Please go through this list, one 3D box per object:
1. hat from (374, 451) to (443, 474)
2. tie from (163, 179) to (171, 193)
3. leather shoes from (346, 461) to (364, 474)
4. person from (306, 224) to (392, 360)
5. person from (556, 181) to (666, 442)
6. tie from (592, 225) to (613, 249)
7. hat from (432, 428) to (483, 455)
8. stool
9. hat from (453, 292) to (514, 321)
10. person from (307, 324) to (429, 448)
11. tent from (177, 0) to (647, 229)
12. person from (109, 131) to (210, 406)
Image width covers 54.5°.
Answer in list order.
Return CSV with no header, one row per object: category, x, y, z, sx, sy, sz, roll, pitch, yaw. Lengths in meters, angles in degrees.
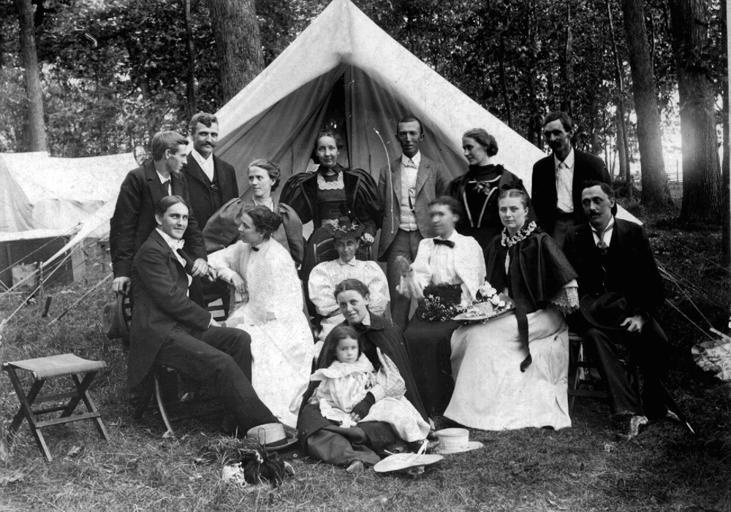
hat,0.370,1.715,5.882,0.607,0.134,0.246,-3,4,-12
tie,-2.013,-0.705,7.207,0.032,0.111,0.077,7,3,23
leather shoes,-0.086,1.731,5.859,0.126,0.055,0.078,-18,36,-17
person,-0.169,0.258,7.282,0.937,1.432,0.792,6,-23,-31
person,2.340,0.442,6.575,0.849,2.276,0.610,0,4,19
tie,2.280,-0.188,6.774,0.132,0.216,0.103,-1,-1,16
hat,0.835,1.599,6.303,0.427,0.192,0.364,-2,4,3
stool,-2.785,1.153,6.492,0.960,1.038,0.870,16,16,42
hat,1.147,0.416,6.851,0.342,0.144,0.331,-15,-1,-38
person,-0.022,1.160,6.496,0.976,1.088,0.923,-9,2,-15
tent,1.066,-2.215,10.396,4.568,2.571,4.059,-2,7,-2
person,-2.187,0.002,7.462,0.869,2.743,0.937,30,28,35
